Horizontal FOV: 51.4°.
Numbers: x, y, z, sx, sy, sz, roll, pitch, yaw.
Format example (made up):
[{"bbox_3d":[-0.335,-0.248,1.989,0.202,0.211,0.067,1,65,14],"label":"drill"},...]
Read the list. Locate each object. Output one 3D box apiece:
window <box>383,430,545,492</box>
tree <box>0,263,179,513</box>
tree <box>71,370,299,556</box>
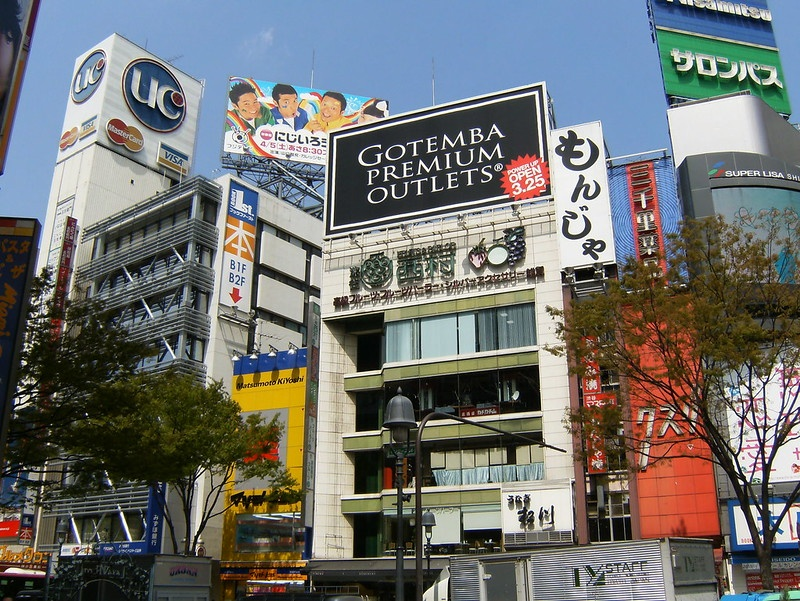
[{"bbox_3d":[4.745,10.804,55.147,10.017,2.984,1.389,-11,-19,24],"label":"window"},{"bbox_3d":[-16.353,4.618,40.242,4.449,11.270,30.541,6,-20,-24],"label":"tree"},{"bbox_3d":[-12.029,9.904,49.747,10.028,9.715,10.878,-13,-27,23],"label":"tree"}]
